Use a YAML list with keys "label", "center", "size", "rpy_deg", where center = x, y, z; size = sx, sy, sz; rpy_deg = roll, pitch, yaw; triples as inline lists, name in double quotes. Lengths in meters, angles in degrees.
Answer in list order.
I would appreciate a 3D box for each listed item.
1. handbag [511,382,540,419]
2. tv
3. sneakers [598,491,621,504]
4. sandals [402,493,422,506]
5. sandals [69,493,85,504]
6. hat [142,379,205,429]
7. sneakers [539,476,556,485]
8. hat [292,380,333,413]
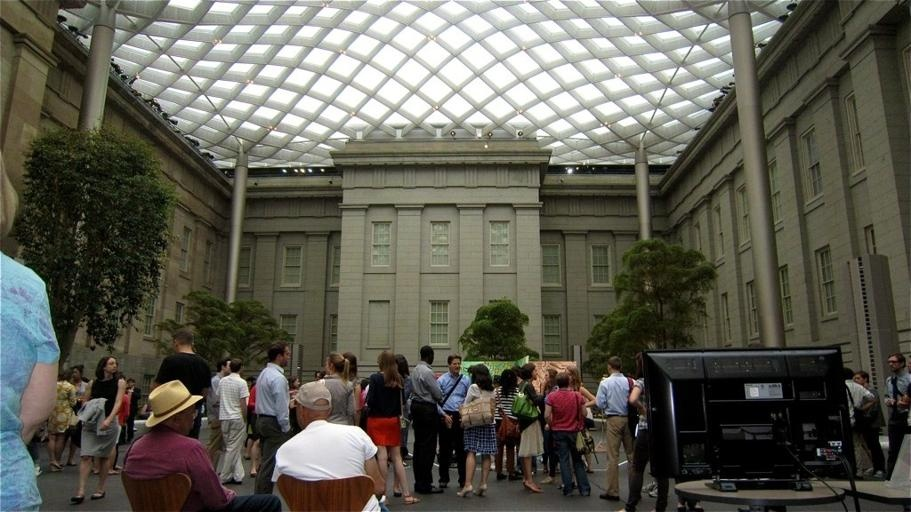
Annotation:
- label: "handbag"
  center: [1.904, 3.997, 18.332]
  size: [0.466, 0.779, 0.862]
  rpy_deg: [-12, -20, 22]
- label: "tv"
  center: [5.590, 3.088, 12.590]
  size: [3.232, 2.029, 0.852]
  rpy_deg: [-1, -2, 2]
- label: "sneakers"
  center: [4.006, 6.210, 17.209]
  size: [0.550, 0.218, 0.203]
  rpy_deg: [1, -4, 36]
- label: "sandals"
  center: [-1.118, 6.109, 16.759]
  size: [0.442, 0.159, 0.214]
  rpy_deg: [0, -4, -10]
- label: "sandals"
  center: [-9.392, 6.026, 16.514]
  size: [0.287, 0.225, 0.266]
  rpy_deg: [10, -19, -29]
- label: "hat"
  center: [-5.502, 2.715, 12.816]
  size: [1.261, 0.487, 1.056]
  rpy_deg: [-22, 14, -6]
- label: "sneakers"
  center: [2.624, 6.441, 19.116]
  size: [0.539, 0.199, 0.167]
  rpy_deg: [3, -13, 0]
- label: "hat"
  center: [-2.771, 2.721, 13.000]
  size: [0.628, 0.556, 0.266]
  rpy_deg: [5, -17, -13]
